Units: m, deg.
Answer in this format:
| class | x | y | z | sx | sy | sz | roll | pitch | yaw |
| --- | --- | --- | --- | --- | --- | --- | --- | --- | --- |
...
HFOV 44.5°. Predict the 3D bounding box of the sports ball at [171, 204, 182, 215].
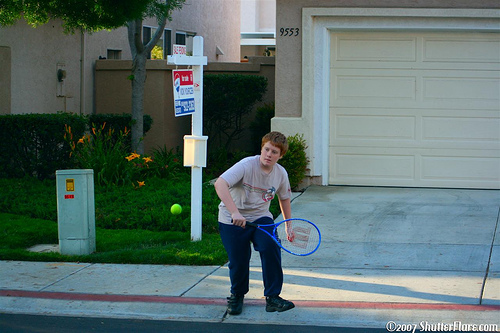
| class | x | y | z | sx | sy | sz | roll | pitch | yaw |
| --- | --- | --- | --- | --- | --- | --- | --- | --- | --- |
| sports ball | -1.465 | 0.859 | 12.122 | 0.169 | 0.169 | 0.168 | 5 | 42 | -5 |
